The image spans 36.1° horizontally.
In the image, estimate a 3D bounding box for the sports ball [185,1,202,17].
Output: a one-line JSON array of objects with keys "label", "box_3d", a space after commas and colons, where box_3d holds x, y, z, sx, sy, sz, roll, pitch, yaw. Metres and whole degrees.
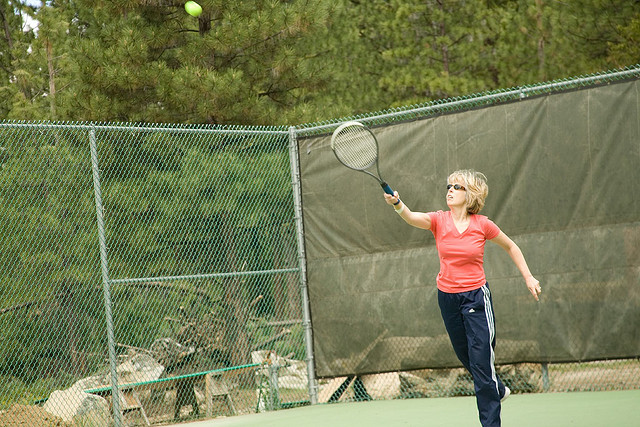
[{"label": "sports ball", "box_3d": [-2.455, -3.937, 18.922, 0.346, 0.285, 0.241, -7, -1, -22]}]

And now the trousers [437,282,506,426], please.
[{"label": "trousers", "box_3d": [2.093, 1.953, 13.481, 0.649, 1.950, 0.298, -7, -1, 31]}]

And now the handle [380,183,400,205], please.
[{"label": "handle", "box_3d": [0.912, -0.303, 13.417, 0.064, 0.428, 0.131, -44, 3, 3]}]

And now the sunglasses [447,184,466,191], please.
[{"label": "sunglasses", "box_3d": [1.873, -0.358, 13.528, 0.221, 0.079, 0.062, -9, -1, 8]}]
